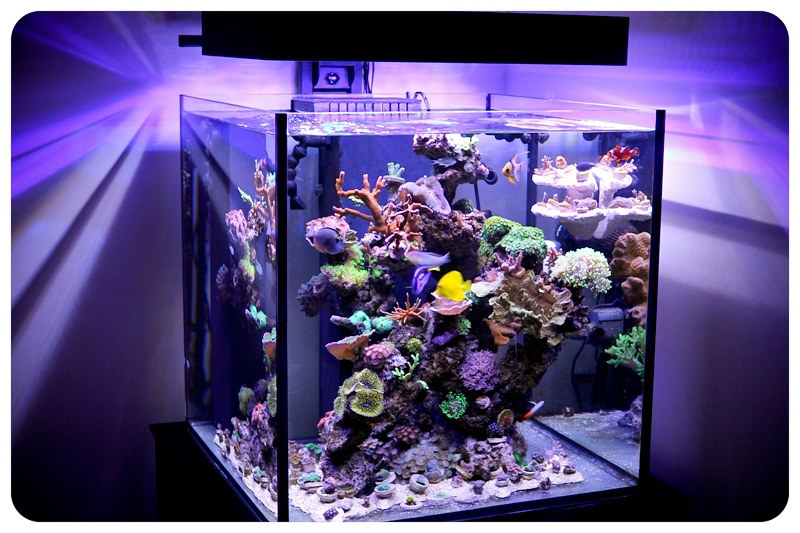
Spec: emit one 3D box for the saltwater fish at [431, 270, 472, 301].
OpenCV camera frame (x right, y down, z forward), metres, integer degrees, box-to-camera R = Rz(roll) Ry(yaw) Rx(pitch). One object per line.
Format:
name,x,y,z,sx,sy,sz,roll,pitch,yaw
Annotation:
saltwater fish,0.313,0.115,3.333,0.226,0.160,0.091,-1,7,-27

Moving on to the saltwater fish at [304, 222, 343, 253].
saltwater fish,-0.410,-0.136,3.215,0.121,0.166,0.179,6,7,33
